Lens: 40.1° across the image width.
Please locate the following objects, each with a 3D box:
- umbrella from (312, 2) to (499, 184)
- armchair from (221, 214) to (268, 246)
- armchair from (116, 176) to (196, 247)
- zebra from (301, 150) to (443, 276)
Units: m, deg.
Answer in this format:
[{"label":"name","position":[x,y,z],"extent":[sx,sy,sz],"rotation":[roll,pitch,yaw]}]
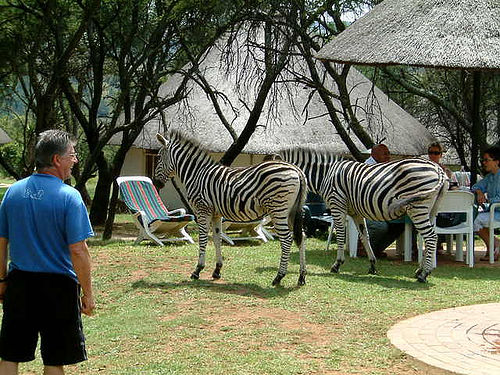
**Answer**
[{"label":"umbrella","position":[3.479,-2.208,14.089],"extent":[3.498,3.105,3.664],"rotation":[5,7,43]},{"label":"armchair","position":[-0.128,0.975,15.915],"extent":[0.633,0.440,1.050],"rotation":[2,-7,-27]},{"label":"armchair","position":[-2.112,0.554,15.484],"extent":[1.326,1.755,1.429],"rotation":[7,8,25]},{"label":"zebra","position":[2.361,0.480,12.565],"extent":[2.378,2.190,1.581],"rotation":[6,9,35]}]
